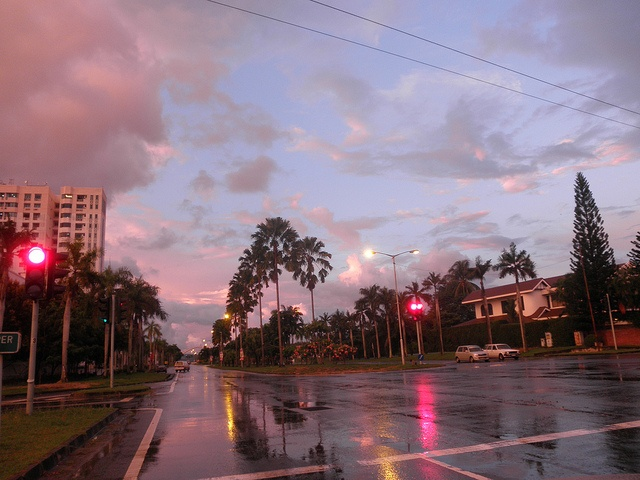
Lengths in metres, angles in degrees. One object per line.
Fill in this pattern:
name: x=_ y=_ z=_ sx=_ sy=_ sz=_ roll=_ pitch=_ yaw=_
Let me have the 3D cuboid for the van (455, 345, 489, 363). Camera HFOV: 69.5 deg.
van: x=15.683 y=11.645 z=47.515 sx=1.560 sy=1.306 sz=2.694 roll=4 pitch=-27 yaw=-17

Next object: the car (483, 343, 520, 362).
car: x=18.474 y=11.302 z=46.790 sx=3.060 sy=1.606 sz=2.190 roll=-14 pitch=-18 yaw=31

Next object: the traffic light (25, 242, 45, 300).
traffic light: x=-8.421 y=0.911 z=13.649 sx=0.525 sy=1.646 sz=0.594 roll=5 pitch=-17 yaw=-32

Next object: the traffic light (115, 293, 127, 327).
traffic light: x=-10.345 y=3.544 z=23.929 sx=0.557 sy=1.281 sz=1.132 roll=3 pitch=-16 yaw=-24
